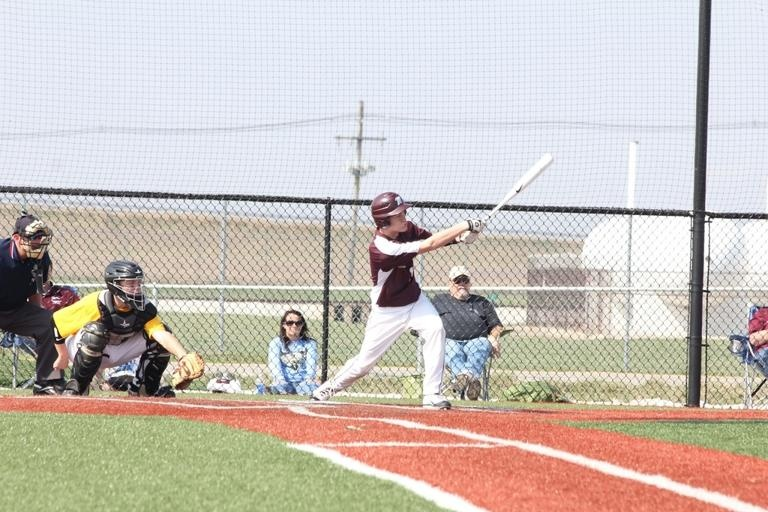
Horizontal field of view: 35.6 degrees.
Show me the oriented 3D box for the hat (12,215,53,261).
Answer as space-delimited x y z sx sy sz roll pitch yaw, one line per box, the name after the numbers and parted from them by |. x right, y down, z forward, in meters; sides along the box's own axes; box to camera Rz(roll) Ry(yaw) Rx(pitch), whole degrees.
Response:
-3.810 -0.192 12.944 0.457 0.410 0.392 14 7 42 | hat

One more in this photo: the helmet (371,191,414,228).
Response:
0.050 -0.482 12.728 0.387 0.354 0.309 2 -4 -1 | helmet

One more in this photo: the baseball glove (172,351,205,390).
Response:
-2.008 1.182 12.262 0.312 0.367 0.431 2 -4 -11 | baseball glove

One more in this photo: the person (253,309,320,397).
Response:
-1.111 1.189 14.667 1.079 1.343 0.878 1 -3 -5 | person

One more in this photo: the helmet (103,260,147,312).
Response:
-2.695 0.322 12.502 0.495 0.456 0.417 13 20 24 | helmet

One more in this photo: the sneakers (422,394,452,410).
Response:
0.550 1.566 12.685 0.324 0.136 0.129 -2 -7 19 | sneakers

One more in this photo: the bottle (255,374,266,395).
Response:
-1.559 1.628 15.052 0.125 0.283 0.147 3 -1 -39 | bottle

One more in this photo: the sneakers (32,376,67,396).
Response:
-3.588 1.402 12.850 0.357 0.146 0.163 -5 4 4 | sneakers

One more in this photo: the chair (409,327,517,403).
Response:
1.063 1.297 14.399 1.509 0.766 0.727 2 1 -6 | chair
